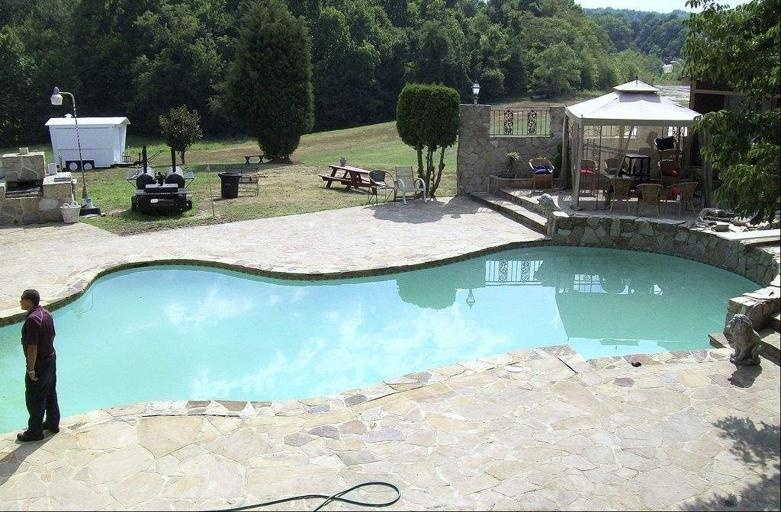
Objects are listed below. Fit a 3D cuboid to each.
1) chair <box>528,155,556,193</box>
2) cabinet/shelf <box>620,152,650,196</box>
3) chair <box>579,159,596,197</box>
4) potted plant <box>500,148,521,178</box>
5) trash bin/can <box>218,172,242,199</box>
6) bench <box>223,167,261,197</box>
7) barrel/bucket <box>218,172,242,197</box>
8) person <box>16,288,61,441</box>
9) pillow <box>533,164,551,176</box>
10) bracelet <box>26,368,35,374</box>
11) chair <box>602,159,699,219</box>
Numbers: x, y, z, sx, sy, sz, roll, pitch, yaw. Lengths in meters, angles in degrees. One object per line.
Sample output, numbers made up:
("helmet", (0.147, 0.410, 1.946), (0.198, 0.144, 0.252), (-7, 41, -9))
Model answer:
("chair", (5.973, -3.145, 21.529), (1.123, 1.516, 1.144), (0, 5, 1))
("cabinet/shelf", (7.973, -2.672, 18.521), (0.583, 1.387, 1.616), (-3, 25, 4))
("chair", (7.193, -2.895, 20.639), (0.520, 1.147, 1.800), (2, 13, 19))
("potted plant", (4.568, -3.708, 22.307), (0.854, 1.333, 0.927), (7, 18, 18))
("trash bin/can", (-6.343, -2.945, 23.013), (0.988, 1.012, 1.063), (1, 14, 3))
("bench", (-6.320, -3.049, 23.743), (1.430, 0.847, 2.205), (-1, 4, -8))
("barrel/bucket", (-6.354, -2.939, 23.016), (0.932, 0.963, 1.007), (0, 15, 0))
("person", (-5.345, 1.628, 8.582), (0.426, 2.231, 0.645), (2, 13, 16))
("pillow", (5.735, -3.245, 21.249), (0.730, 0.313, 0.716), (-1, 12, 6))
("bracelet", (-5.311, 1.679, 8.380), (0.089, 0.036, 0.078), (1, 4, -4))
("chair", (8.280, -2.356, 17.990), (2.583, 1.633, 3.477), (4, 14, 27))
